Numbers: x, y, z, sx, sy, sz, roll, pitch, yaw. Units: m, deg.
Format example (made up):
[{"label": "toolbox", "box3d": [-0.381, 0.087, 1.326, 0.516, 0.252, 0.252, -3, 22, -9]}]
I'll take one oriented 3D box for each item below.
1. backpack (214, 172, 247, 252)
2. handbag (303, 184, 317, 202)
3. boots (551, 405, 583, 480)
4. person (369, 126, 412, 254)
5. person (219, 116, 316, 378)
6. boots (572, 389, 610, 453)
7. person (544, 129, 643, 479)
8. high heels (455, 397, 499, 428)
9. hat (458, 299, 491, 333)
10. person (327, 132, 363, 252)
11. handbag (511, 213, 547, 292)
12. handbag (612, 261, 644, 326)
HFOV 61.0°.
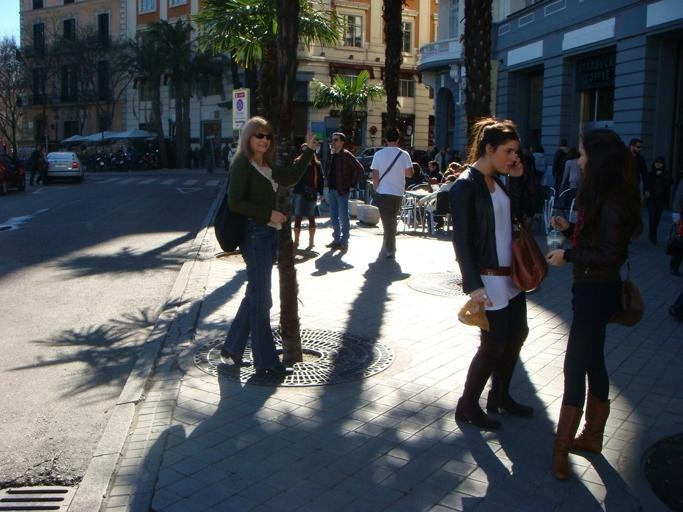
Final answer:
[{"label": "backpack", "box3d": [-0.971, -0.313, 5.037, 0.257, 0.646, 0.411, -5, 14, -13]}, {"label": "handbag", "box3d": [-0.597, -1.281, 11.750, 0.195, 0.279, 0.274, 16, 20, 12]}, {"label": "boots", "box3d": [1.390, 1.127, 3.573, 0.140, 0.378, 0.256, 5, 15, 27]}, {"label": "person", "box3d": [0.982, -1.194, 10.830, 0.734, 2.301, 0.813, 5, 14, 20]}, {"label": "person", "box3d": [-0.716, -0.108, 5.238, 0.611, 2.214, 0.891, 6, 15, 30]}, {"label": "boots", "box3d": [1.639, 1.087, 3.903, 0.271, 0.395, 0.128, 7, 8, 32]}, {"label": "person", "box3d": [1.559, 0.276, 3.674, 0.480, 2.087, 0.849, 8, 16, 35]}, {"label": "high heels", "box3d": [0.963, 1.104, 4.275, 0.376, 0.208, 0.130, 8, 16, 26]}, {"label": "hat", "box3d": [0.930, 0.386, 3.952, 0.196, 0.220, 0.087, 5, 4, 38]}, {"label": "person", "box3d": [0.064, -1.301, 11.791, 0.693, 2.328, 1.213, -1, 13, 2]}, {"label": "handbag", "box3d": [1.300, -0.037, 4.086, 0.214, 0.489, 0.461, -10, 21, 31]}, {"label": "handbag", "box3d": [1.855, 0.221, 3.729, 0.150, 0.310, 0.118, -22, -5, 37]}]
